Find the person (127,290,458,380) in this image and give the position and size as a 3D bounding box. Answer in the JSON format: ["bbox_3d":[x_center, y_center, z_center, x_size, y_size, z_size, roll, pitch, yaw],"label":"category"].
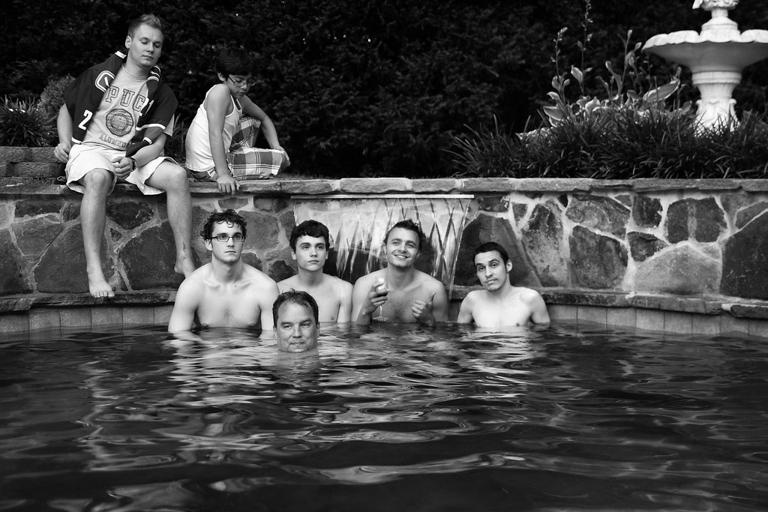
[{"bbox_3d":[-0.651,0.521,6.703,2.302,0.538,1.418,-1,12,-5],"label":"person"}]

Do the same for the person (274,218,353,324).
[{"bbox_3d":[-0.596,0.120,7.746,0.901,1.176,0.510,-3,4,-13],"label":"person"}]

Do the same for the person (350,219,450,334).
[{"bbox_3d":[0.179,0.254,8.077,1.151,1.377,0.842,0,-4,-2],"label":"person"}]

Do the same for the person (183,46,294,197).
[{"bbox_3d":[-1.391,-1.381,8.712,1.066,1.266,1.103,9,21,15],"label":"person"}]

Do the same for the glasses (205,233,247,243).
[{"bbox_3d":[-1.341,-0.175,7.479,0.304,0.081,0.140,0,12,1],"label":"glasses"}]

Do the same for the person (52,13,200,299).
[{"bbox_3d":[-2.323,-0.943,7.892,1.103,2.360,0.773,-5,12,-20],"label":"person"}]
